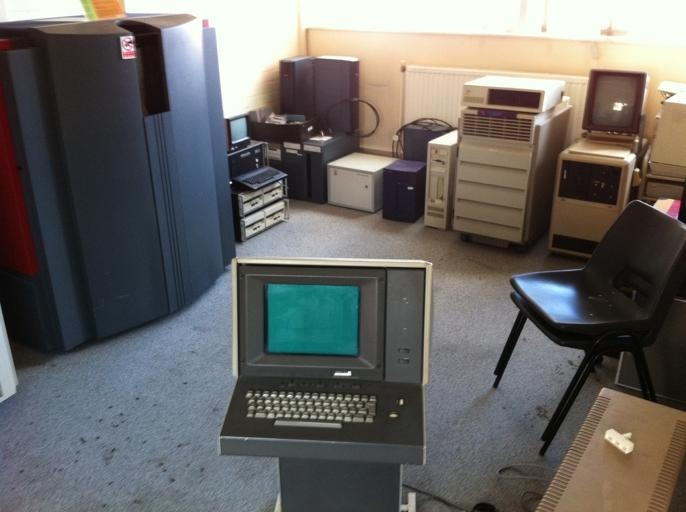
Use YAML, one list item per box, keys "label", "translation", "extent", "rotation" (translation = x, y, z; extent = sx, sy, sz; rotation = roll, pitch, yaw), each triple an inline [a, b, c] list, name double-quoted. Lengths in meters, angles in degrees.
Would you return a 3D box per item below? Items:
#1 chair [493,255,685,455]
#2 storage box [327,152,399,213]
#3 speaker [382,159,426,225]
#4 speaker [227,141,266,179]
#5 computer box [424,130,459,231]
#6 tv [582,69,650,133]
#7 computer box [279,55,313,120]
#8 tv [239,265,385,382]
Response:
- label: "chair"
  translation: [1.148, 0.467, 2.402]
  extent: [0.569, 0.853, 0.504]
  rotation: [-7, 28, -10]
- label: "storage box"
  translation: [0.170, -0.728, 4.831]
  extent: [0.505, 0.405, 0.544]
  rotation: [14, 41, 22]
- label: "speaker"
  translation: [0.538, -0.562, 4.604]
  extent: [0.310, 0.442, 0.349]
  rotation: [10, 23, 26]
- label: "speaker"
  translation: [-0.817, -0.808, 4.291]
  extent: [0.342, 0.165, 0.214]
  rotation: [-23, 35, -31]
- label: "computer box"
  translation: [0.803, -0.598, 4.328]
  extent: [0.247, 0.711, 0.301]
  rotation: [5, 29, 8]
- label: "tv"
  translation: [2.031, -1.139, 3.836]
  extent: [0.398, 0.412, 0.372]
  rotation: [15, 25, 37]
- label: "computer box"
  translation: [-0.393, -1.637, 5.167]
  extent: [0.357, 0.551, 0.384]
  rotation: [6, 24, 16]
- label: "tv"
  translation: [-0.077, 0.200, 1.761]
  extent: [0.537, 0.388, 0.316]
  rotation: [1, 1, 10]
